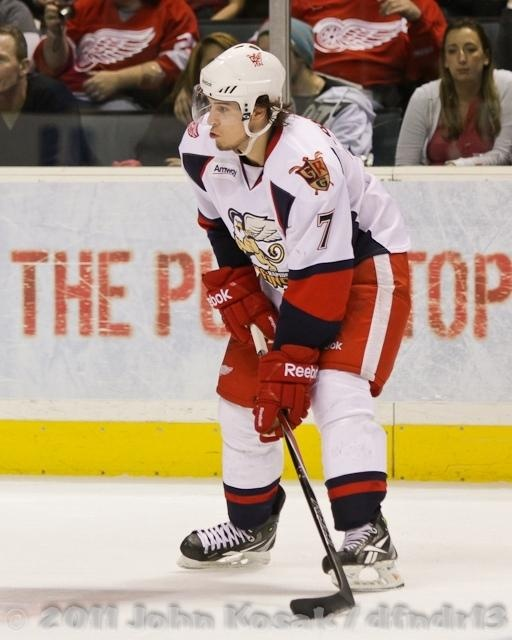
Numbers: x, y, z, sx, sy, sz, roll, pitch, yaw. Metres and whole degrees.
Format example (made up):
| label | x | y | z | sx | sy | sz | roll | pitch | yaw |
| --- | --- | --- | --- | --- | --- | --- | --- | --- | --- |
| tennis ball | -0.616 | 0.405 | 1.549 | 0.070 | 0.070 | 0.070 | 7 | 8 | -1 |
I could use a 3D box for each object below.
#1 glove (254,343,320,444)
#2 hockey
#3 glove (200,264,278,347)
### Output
| label | x | y | z | sx | sy | sz | roll | pitch | yaw |
| --- | --- | --- | --- | --- | --- | --- | --- | --- | --- |
| glove | 0.078 | 0.175 | 2.304 | 0.166 | 0.208 | 0.071 | 6 | -2 | -9 |
| hockey | 0.073 | 0.362 | 2.365 | 0.169 | 0.044 | 0.701 | -9 | 59 | -16 |
| glove | -0.013 | -0.047 | 2.666 | 0.104 | 0.226 | 0.152 | -8 | -21 | -49 |
